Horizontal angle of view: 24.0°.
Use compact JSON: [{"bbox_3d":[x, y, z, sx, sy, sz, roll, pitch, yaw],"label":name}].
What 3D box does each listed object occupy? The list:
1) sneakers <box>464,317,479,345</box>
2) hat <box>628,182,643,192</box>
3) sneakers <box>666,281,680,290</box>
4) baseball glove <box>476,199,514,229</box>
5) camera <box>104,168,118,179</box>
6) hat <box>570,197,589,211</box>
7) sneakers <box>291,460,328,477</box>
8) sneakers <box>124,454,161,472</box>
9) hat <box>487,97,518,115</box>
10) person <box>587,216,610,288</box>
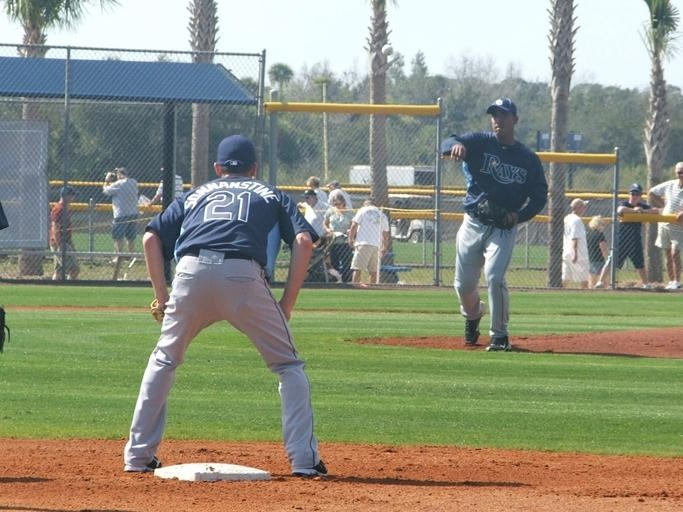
[{"bbox_3d":[1.996,1.089,24.270,0.153,0.475,0.193,9,7,44],"label":"sneakers"},{"bbox_3d":[5.785,-1.366,31.092,0.243,0.185,0.409,3,-2,6],"label":"hat"},{"bbox_3d":[6.375,0.515,30.946,0.335,0.150,0.129,2,0,24],"label":"sneakers"},{"bbox_3d":[2.259,-0.629,23.398,0.510,0.321,0.199,29,0,12],"label":"baseball glove"},{"bbox_3d":[-4.778,-1.782,33.543,0.160,0.169,0.503,45,-20,-14],"label":"camera"},{"bbox_3d":[4.623,-1.002,30.791,0.374,0.216,0.238,-18,12,-21],"label":"hat"},{"bbox_3d":[-0.364,2.546,19.635,0.446,0.218,0.181,-3,3,-15],"label":"sneakers"},{"bbox_3d":[-2.399,2.459,19.653,0.477,0.214,0.176,-5,6,-26],"label":"sneakers"},{"bbox_3d":[2.385,-2.219,23.538,0.433,0.279,0.397,3,14,5],"label":"hat"},{"bbox_3d":[4.941,-0.142,30.787,0.420,1.326,0.529,-8,16,-31],"label":"person"}]
